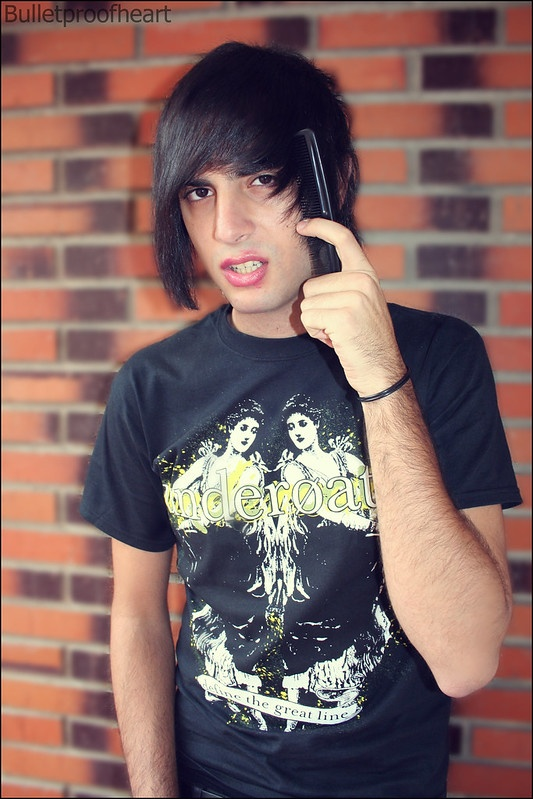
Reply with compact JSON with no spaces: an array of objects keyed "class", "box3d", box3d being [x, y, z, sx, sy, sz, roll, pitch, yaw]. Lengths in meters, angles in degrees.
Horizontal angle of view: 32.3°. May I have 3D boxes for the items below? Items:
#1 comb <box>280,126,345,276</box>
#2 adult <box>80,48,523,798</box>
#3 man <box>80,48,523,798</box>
[{"class":"comb","box3d":[0.079,-0.324,1.516,0.058,0.236,0.023,-4,6,39]},{"class":"adult","box3d":[0.024,0.044,1.597,0.779,1.312,0.319,-6,4,13]},{"class":"man","box3d":[0.024,0.044,1.597,0.779,1.312,0.319,-6,4,13]}]
